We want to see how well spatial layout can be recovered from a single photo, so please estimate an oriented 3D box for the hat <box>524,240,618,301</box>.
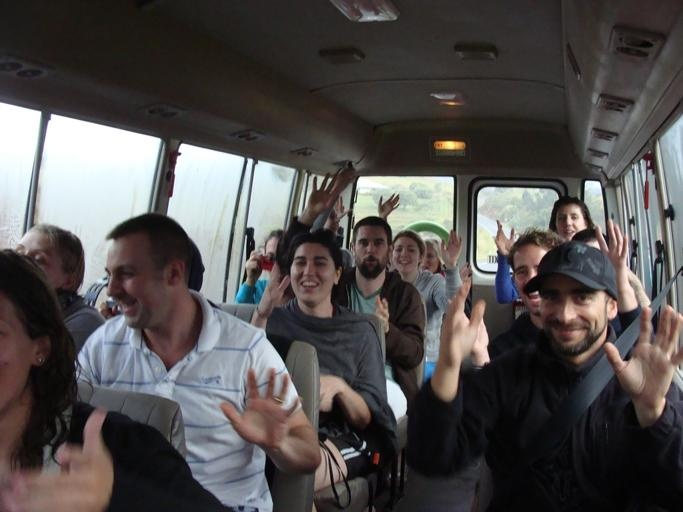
[{"bbox_3d":[0.677,0.033,1.302,0.196,0.144,0.275,5,-4,42],"label":"hat"}]
